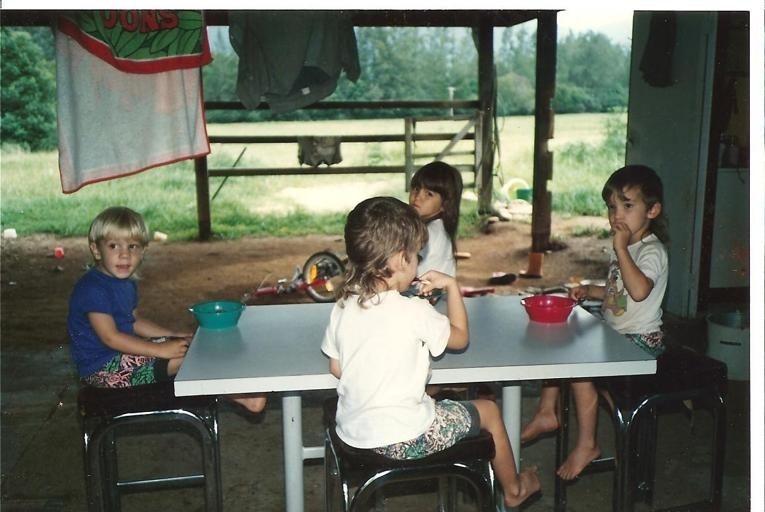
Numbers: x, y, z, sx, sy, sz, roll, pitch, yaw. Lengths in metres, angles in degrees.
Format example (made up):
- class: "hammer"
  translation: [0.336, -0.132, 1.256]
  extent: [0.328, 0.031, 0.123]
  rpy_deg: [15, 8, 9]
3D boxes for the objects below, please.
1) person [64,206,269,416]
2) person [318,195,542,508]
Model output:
- class: "person"
  translation: [-1.305, 0.312, 4.831]
  extent: [1.310, 1.151, 0.658]
  rpy_deg: [5, 12, 4]
- class: "person"
  translation: [0.179, 0.530, 4.161]
  extent: [1.000, 1.655, 0.421]
  rpy_deg: [-2, 13, -6]
